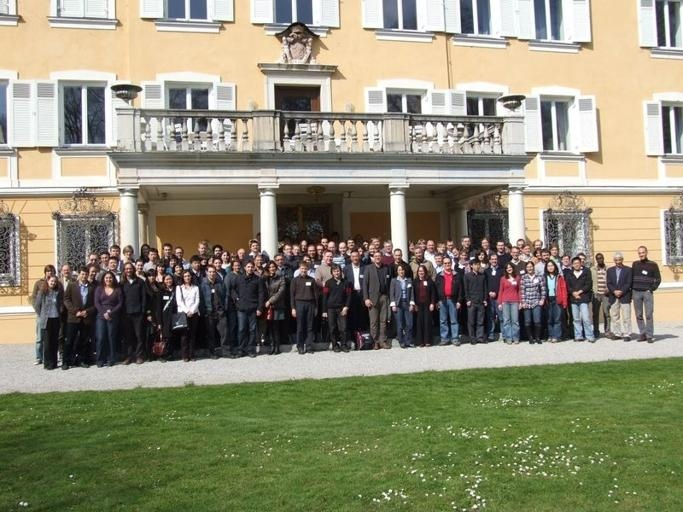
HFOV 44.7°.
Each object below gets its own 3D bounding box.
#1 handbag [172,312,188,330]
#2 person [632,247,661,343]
[{"bbox_3d":[-3.297,1.319,16.986,0.306,0.333,0.113,-4,-9,22],"label":"handbag"},{"bbox_3d":[6.967,0.864,19.084,0.603,2.165,0.880,2,9,15],"label":"person"}]
